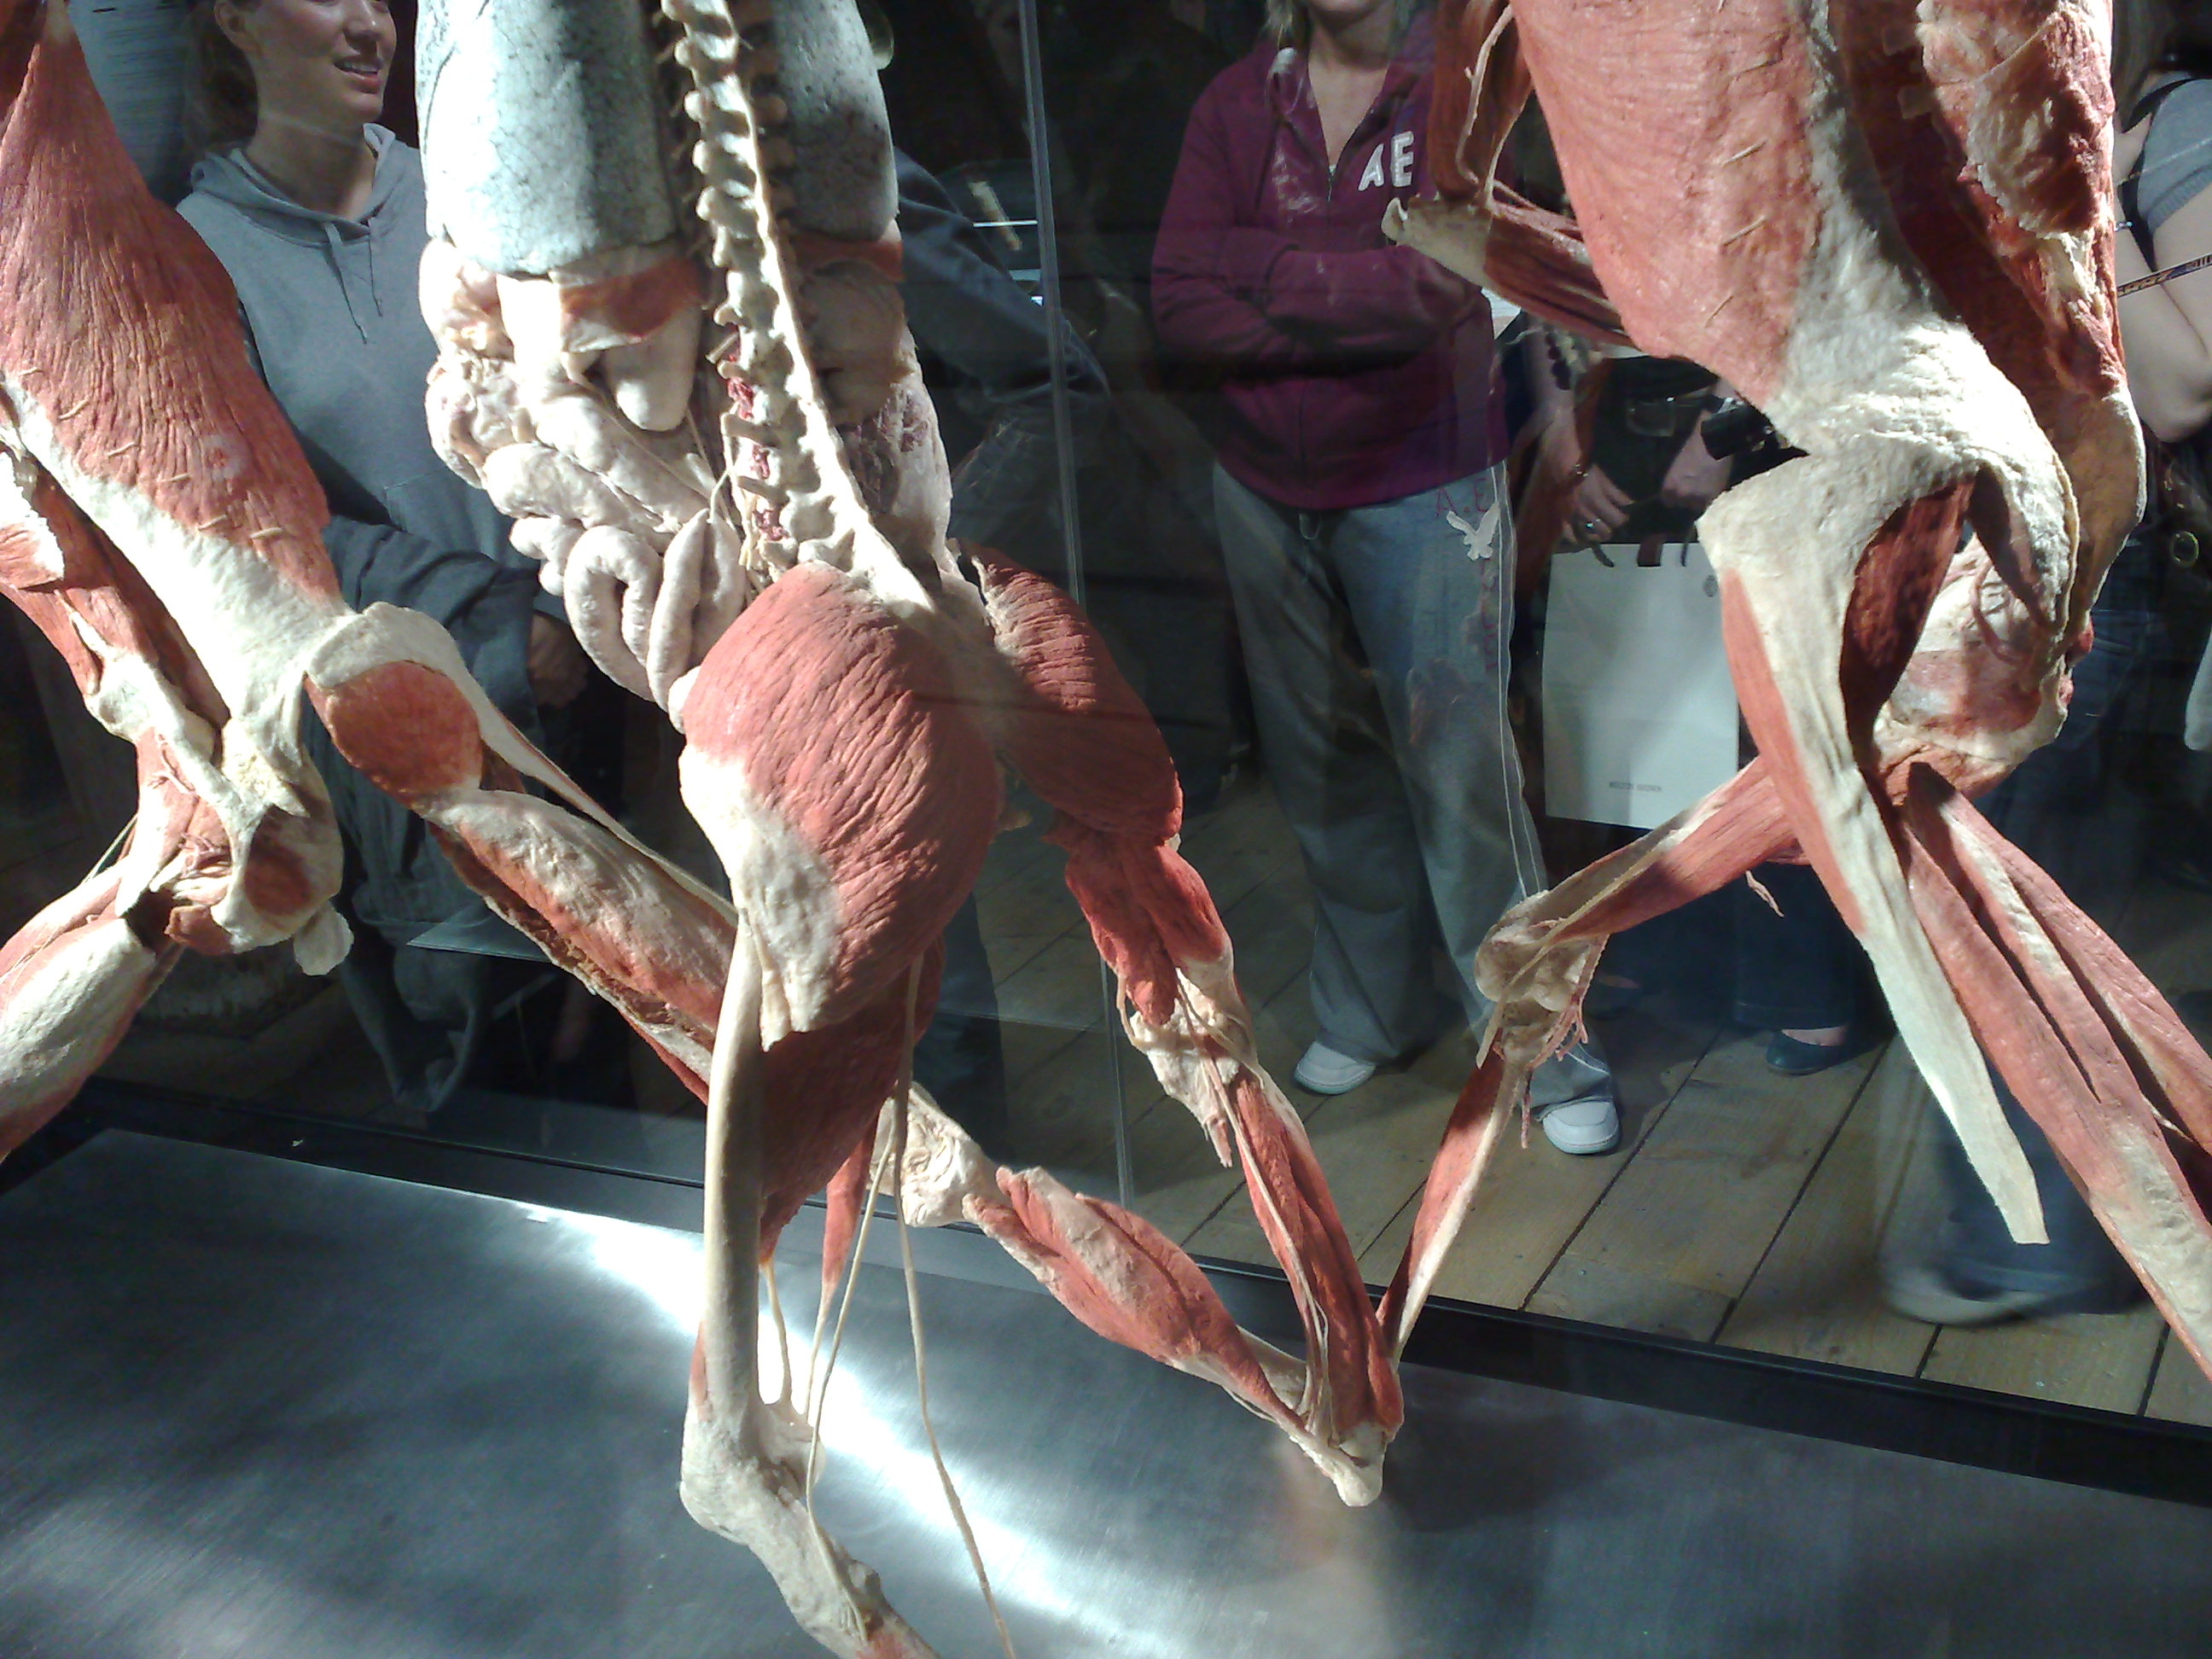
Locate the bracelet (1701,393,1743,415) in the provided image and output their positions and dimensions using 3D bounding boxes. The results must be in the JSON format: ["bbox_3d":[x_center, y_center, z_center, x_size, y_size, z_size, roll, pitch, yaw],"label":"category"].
[{"bbox_3d":[0.318,-0.221,1.152,0.012,0.010,0.007,-4,7,9],"label":"bracelet"}]

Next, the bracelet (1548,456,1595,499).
[{"bbox_3d":[0.244,-0.187,1.183,0.013,0.019,0.006,19,12,11],"label":"bracelet"}]

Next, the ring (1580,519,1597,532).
[{"bbox_3d":[0.256,-0.162,1.186,0.009,0.007,0.002,-8,27,6],"label":"ring"}]
